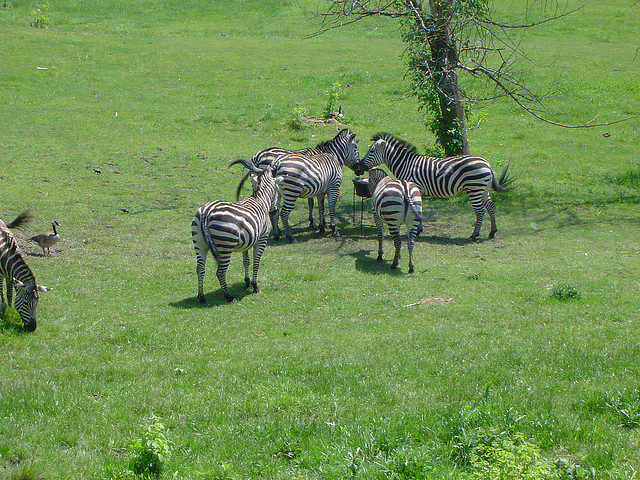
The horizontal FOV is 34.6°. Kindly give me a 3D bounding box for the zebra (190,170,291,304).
[{"bbox_3d":[-2.242,0.068,30.425,1.147,3.077,3.579,8,13,29],"label":"zebra"}]

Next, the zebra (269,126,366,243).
[{"bbox_3d":[-0.150,-1.864,33.963,4.288,3.383,1.309,-14,20,-41],"label":"zebra"}]

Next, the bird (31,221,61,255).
[{"bbox_3d":[-8.135,-0.060,30.627,1.166,1.024,0.534,5,6,28],"label":"bird"}]

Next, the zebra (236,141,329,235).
[{"bbox_3d":[-0.428,-1.724,33.710,1.213,3.261,4.799,1,10,38],"label":"zebra"}]
